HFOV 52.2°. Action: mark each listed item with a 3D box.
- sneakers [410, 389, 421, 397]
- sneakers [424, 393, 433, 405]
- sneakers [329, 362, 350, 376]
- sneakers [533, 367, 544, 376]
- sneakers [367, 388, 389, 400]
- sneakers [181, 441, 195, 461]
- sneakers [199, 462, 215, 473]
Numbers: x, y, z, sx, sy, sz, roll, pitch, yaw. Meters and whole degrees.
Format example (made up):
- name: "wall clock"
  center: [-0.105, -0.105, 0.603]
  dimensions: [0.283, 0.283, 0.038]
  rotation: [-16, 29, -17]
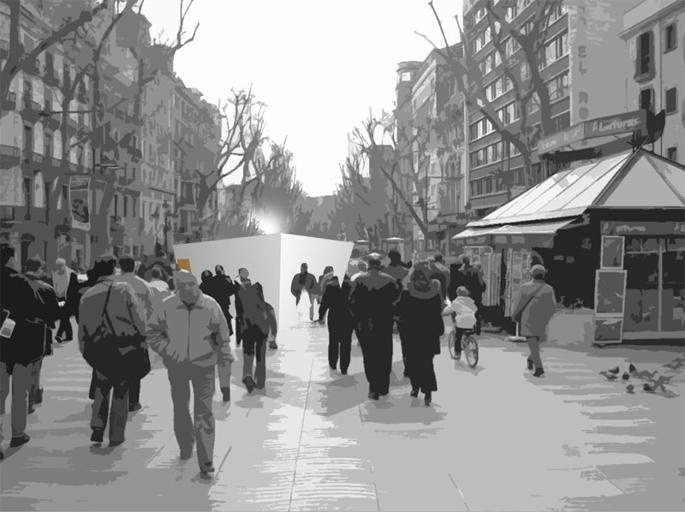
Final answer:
- name: "sneakers"
  center: [1.239, 2.329, 11.914]
  dimensions: [0.111, 0.139, 0.125]
  rotation: [3, -4, -3]
- name: "sneakers"
  center: [1.398, 2.369, 11.547]
  dimensions: [0.165, 0.265, 0.126]
  rotation: [1, -7, -7]
- name: "sneakers"
  center: [-0.101, 2.239, 14.085]
  dimensions: [0.166, 0.246, 0.577]
  rotation: [-2, 6, -44]
- name: "sneakers"
  center: [3.772, 2.231, 13.432]
  dimensions: [0.217, 0.253, 0.114]
  rotation: [-1, -4, 15]
- name: "sneakers"
  center: [0.597, 2.362, 11.883]
  dimensions: [0.354, 0.151, 0.148]
  rotation: [-5, 9, -8]
- name: "sneakers"
  center: [-2.097, 2.567, 9.311]
  dimensions: [0.177, 0.306, 0.367]
  rotation: [-1, 5, -14]
- name: "sneakers"
  center: [-1.695, 2.654, 8.688]
  dimensions: [0.156, 0.181, 0.108]
  rotation: [0, 2, -7]
